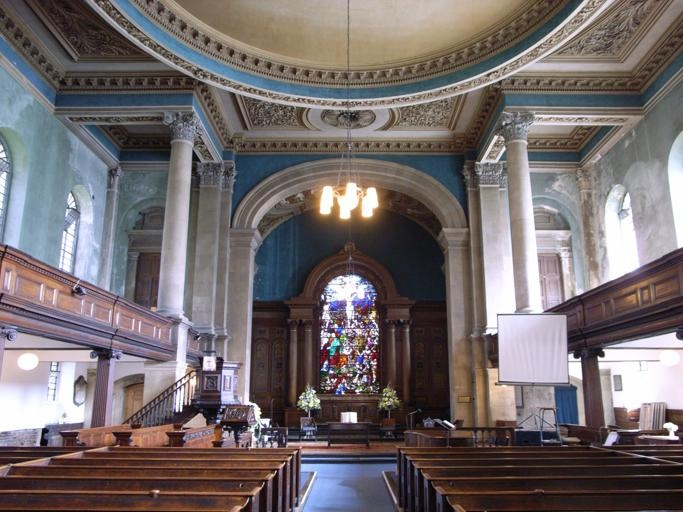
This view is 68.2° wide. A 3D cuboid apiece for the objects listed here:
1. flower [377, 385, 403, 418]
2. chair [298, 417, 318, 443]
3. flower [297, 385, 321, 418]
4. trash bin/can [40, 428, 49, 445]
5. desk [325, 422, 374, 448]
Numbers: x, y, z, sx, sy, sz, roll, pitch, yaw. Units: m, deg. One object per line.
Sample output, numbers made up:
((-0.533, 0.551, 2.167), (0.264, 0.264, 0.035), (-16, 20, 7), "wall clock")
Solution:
((2.071, 6.089, 21.227), (1.098, 1.566, 1.181), (2, -15, 4), "flower")
((-1.282, 6.638, 19.346), (0.807, 1.161, 0.799), (2, -23, -8), "chair")
((-1.350, 6.046, 21.138), (0.908, 1.241, 1.356), (1, -17, -4), "flower")
((-8.802, 5.326, 15.001), (0.300, 0.490, 0.223), (-4, -17, 13), "trash bin/can")
((0.247, 6.489, 18.551), (1.391, 0.760, 2.846), (-1, -17, 0), "desk")
